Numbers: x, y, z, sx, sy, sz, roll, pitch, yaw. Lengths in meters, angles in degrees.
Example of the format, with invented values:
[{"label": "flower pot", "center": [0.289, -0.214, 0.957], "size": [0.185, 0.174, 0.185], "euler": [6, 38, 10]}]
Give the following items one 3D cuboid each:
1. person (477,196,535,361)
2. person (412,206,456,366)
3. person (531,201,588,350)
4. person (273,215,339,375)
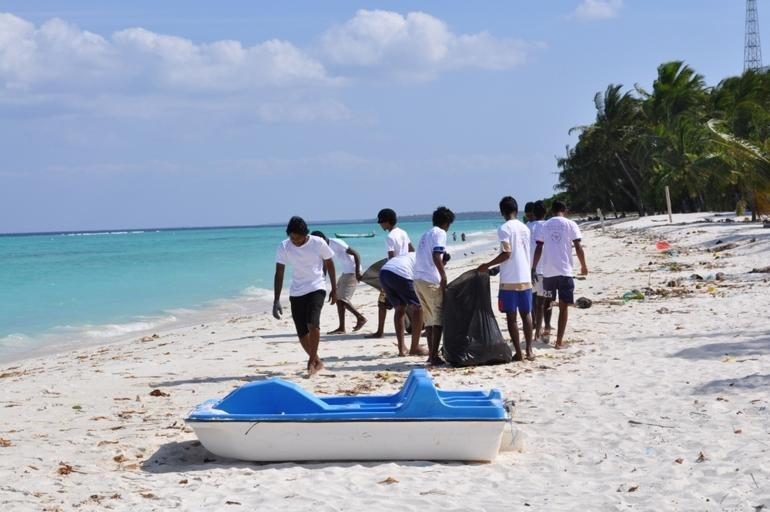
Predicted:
[{"label": "person", "center": [2.156, 0.383, 13.419], "size": [0.460, 2.772, 0.982], "euler": [0, 4, 43]}, {"label": "person", "center": [0.849, 0.507, 13.561], "size": [0.697, 2.675, 0.777], "euler": [-2, 3, 15]}, {"label": "person", "center": [3.153, 0.289, 14.276], "size": [0.933, 2.623, 0.998], "euler": [-2, 3, 13]}, {"label": "person", "center": [-1.342, 0.667, 13.208], "size": [1.036, 2.614, 0.598], "euler": [-3, 3, -5]}]
